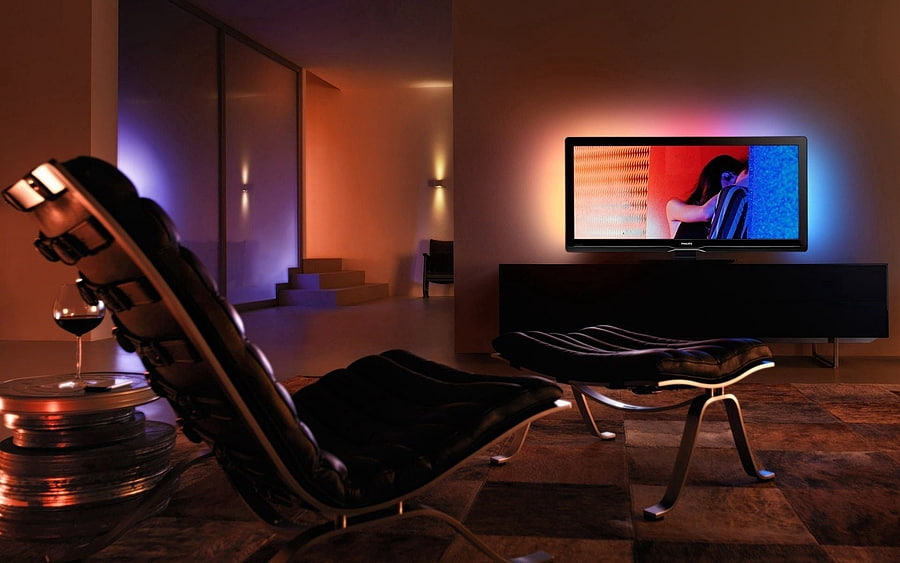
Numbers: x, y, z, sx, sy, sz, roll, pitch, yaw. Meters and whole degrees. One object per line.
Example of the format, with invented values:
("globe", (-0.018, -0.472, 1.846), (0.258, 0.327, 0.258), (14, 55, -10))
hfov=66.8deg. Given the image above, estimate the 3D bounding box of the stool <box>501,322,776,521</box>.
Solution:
("stool", (0.801, 0.619, 2.983), (0.868, 0.569, 1.180), (2, -2, -37))
